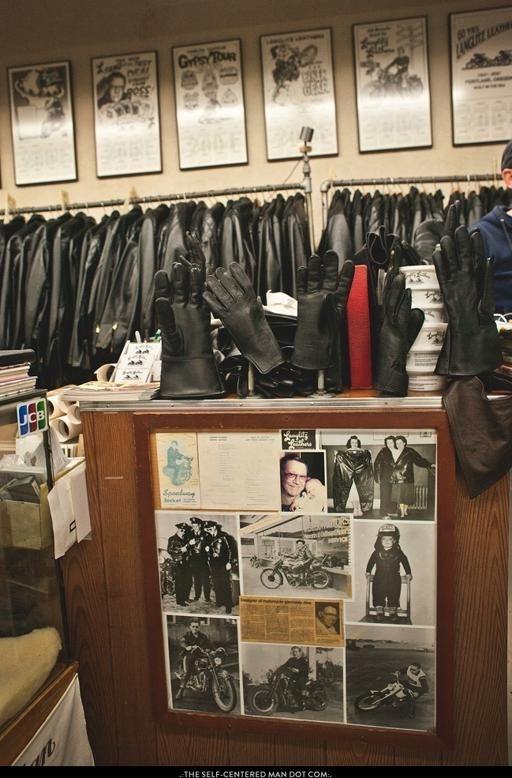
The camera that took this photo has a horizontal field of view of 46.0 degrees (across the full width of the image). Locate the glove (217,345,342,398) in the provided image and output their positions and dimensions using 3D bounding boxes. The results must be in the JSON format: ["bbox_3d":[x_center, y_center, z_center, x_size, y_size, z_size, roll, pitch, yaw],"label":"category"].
[{"bbox_3d":[0.054,-0.024,1.436,0.185,0.084,0.154,0,1,-18],"label":"glove"}]

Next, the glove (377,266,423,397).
[{"bbox_3d":[0.311,-0.127,1.314,0.103,0.275,0.137,-1,10,16],"label":"glove"}]

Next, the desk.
[{"bbox_3d":[0.103,0.443,1.390,0.746,0.722,0.286,-1,3,5],"label":"desk"}]

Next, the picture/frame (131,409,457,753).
[{"bbox_3d":[0.114,0.415,1.383,0.716,0.835,0.035,-1,7,8],"label":"picture/frame"}]

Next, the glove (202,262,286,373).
[{"bbox_3d":[-0.028,-0.163,1.404,0.155,0.256,0.072,-38,-1,-11],"label":"glove"}]

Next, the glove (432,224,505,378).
[{"bbox_3d":[0.464,-0.186,1.279,0.156,0.315,0.100,-6,10,-12],"label":"glove"}]

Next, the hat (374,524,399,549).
[{"bbox_3d":[0.290,0.325,1.341,0.038,0.057,0.054,0,-14,15],"label":"hat"}]

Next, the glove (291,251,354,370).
[{"bbox_3d":[0.156,-0.175,1.367,0.163,0.269,0.080,-10,11,-32],"label":"glove"}]
